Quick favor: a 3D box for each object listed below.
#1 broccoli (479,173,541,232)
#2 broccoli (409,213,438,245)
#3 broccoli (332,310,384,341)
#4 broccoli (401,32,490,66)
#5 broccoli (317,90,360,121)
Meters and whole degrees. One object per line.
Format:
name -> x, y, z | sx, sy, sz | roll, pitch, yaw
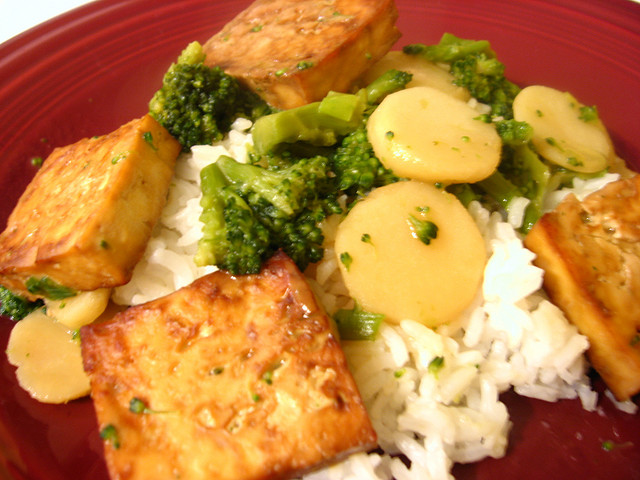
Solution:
broccoli -> 1.021, -0.209, 3.121 | 0.104, 0.103, 0.367 | -35, 57, -1
broccoli -> 0.481, -0.034, 2.823 | 0.173, 0.106, 0.046 | -11, 46, -7
broccoli -> 0.184, 0.418, 2.854 | 0.234, 0.061, 0.115 | 0, 100, 24
broccoli -> 0.703, -1.225, 3.645 | 0.528, 0.172, 0.402 | -15, 25, -28
broccoli -> 0.093, -0.700, 3.002 | 0.185, 0.068, 0.151 | 14, 88, 17
